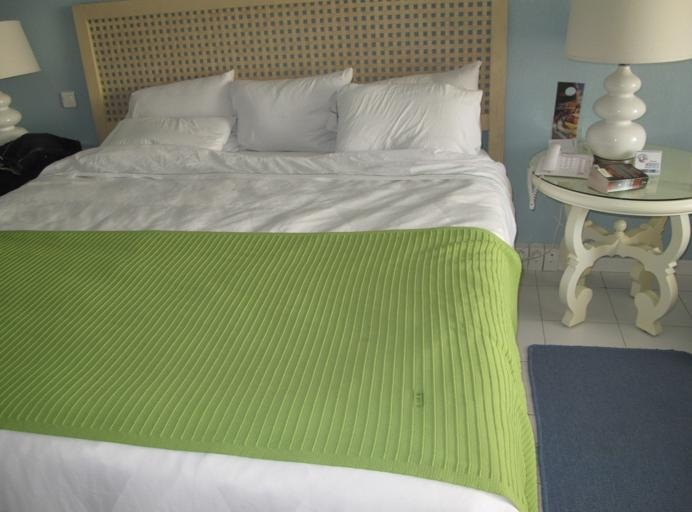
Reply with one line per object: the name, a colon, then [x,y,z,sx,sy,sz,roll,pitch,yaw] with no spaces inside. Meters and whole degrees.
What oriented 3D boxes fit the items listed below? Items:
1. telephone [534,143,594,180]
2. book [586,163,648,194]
telephone: [1.090,-0.425,2.243,0.203,0.052,0.218,11,-12,16]
book: [1.253,-0.386,2.096,0.252,0.084,0.252,-7,27,-8]
